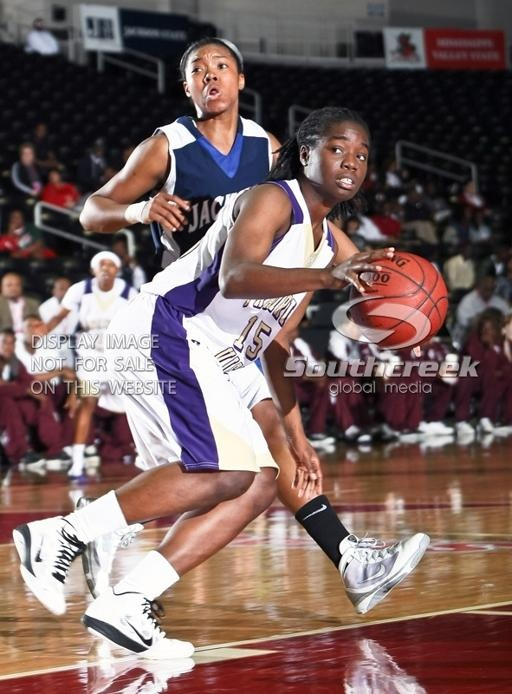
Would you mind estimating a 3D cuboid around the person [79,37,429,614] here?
[{"bbox_3d":[-0.027,-0.095,1.975,1.245,1.575,0.694,-1,-4,24],"label":"person"}]

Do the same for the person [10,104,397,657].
[{"bbox_3d":[-0.087,0.056,1.509,0.883,1.116,0.561,-10,-13,26],"label":"person"}]
